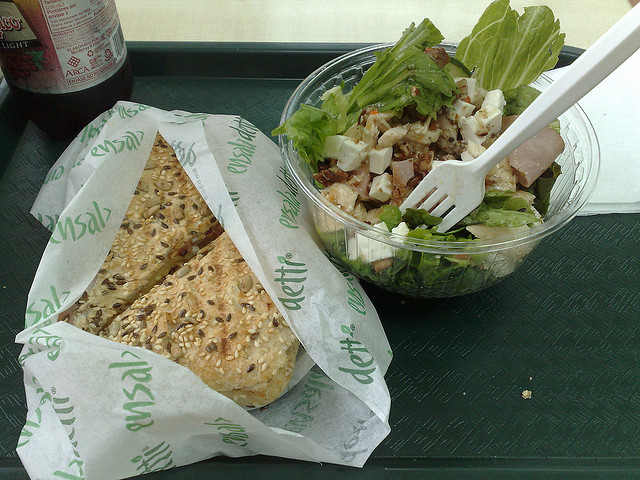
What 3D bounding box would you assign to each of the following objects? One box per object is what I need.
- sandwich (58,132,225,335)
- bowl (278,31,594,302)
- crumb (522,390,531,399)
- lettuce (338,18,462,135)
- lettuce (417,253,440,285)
[{"bbox_3d":[-0.584,-0.053,1.729,0.390,0.619,0.160,11,64,-14],"label":"sandwich"},{"bbox_3d":[0.310,-0.214,1.693,0.911,0.366,0.831,0,55,0],"label":"bowl"},{"bbox_3d":[0.542,0.402,1.464,0.022,0.006,0.023,7,63,-5],"label":"crumb"},{"bbox_3d":[0.235,-0.439,1.651,0.403,0.127,0.277,-30,71,-2],"label":"lettuce"},{"bbox_3d":[0.261,0.070,1.413,0.050,0.068,0.065,-2,76,4],"label":"lettuce"}]
